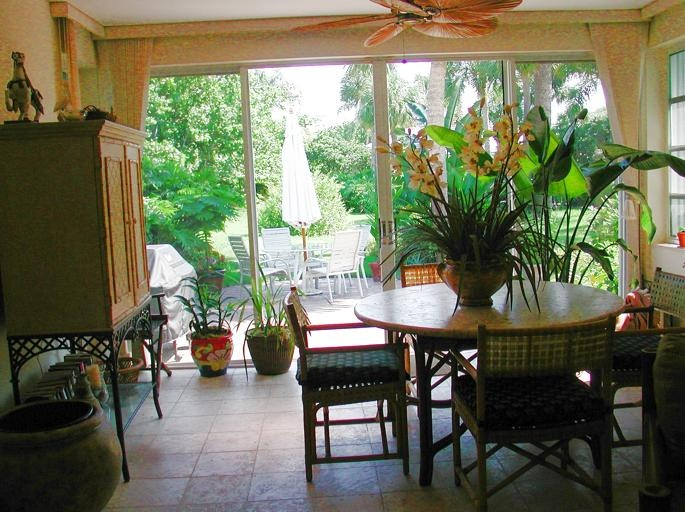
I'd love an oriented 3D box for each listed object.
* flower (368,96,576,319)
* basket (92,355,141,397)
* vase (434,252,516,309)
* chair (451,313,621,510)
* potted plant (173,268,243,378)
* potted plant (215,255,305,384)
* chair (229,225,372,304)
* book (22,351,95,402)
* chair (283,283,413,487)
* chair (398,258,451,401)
[{"bbox_3d":[0.742,-0.230,3.198,0.950,0.982,1.085,-6,3,-24],"label":"flower"},{"bbox_3d":[-1.676,0.858,3.931,0.288,0.105,0.284,1,1,-35],"label":"basket"},{"bbox_3d":[0.810,0.154,3.232,0.487,0.279,0.430,-1,-3,17],"label":"vase"},{"bbox_3d":[1.004,0.804,2.737,0.799,1.077,0.444,-3,11,-2],"label":"chair"},{"bbox_3d":[-1.203,0.578,5.167,0.779,1.157,1.034,-3,7,-17],"label":"potted plant"},{"bbox_3d":[-0.700,0.584,4.884,0.631,0.881,0.838,-6,0,19],"label":"potted plant"},{"bbox_3d":[-0.286,0.055,5.229,0.910,0.599,0.635,5,8,31],"label":"chair"},{"bbox_3d":[-1.718,0.740,3.183,0.270,0.122,0.367,-1,9,-3],"label":"book"},{"bbox_3d":[0.124,0.769,3.748,1.045,1.494,0.884,-3,8,0],"label":"chair"},{"bbox_3d":[0.684,0.467,4.386,0.482,0.732,0.546,-17,45,2],"label":"chair"}]
